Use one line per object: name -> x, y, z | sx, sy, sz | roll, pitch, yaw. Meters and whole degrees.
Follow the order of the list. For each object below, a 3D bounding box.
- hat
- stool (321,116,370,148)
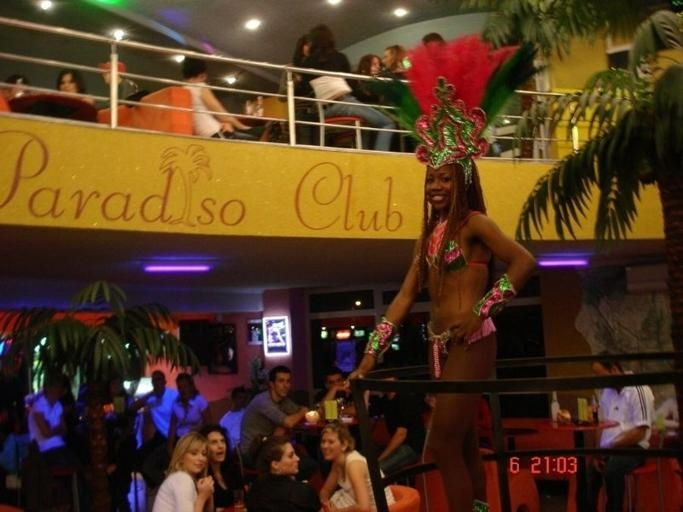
hat -> 0.557, -0.624, 3.318 | 0.367, 0.527, 0.192 | -3, -11, 6
stool -> 0.064, -1.432, 7.513 | 0.470, 0.468, 0.438 | 2, 1, -17
